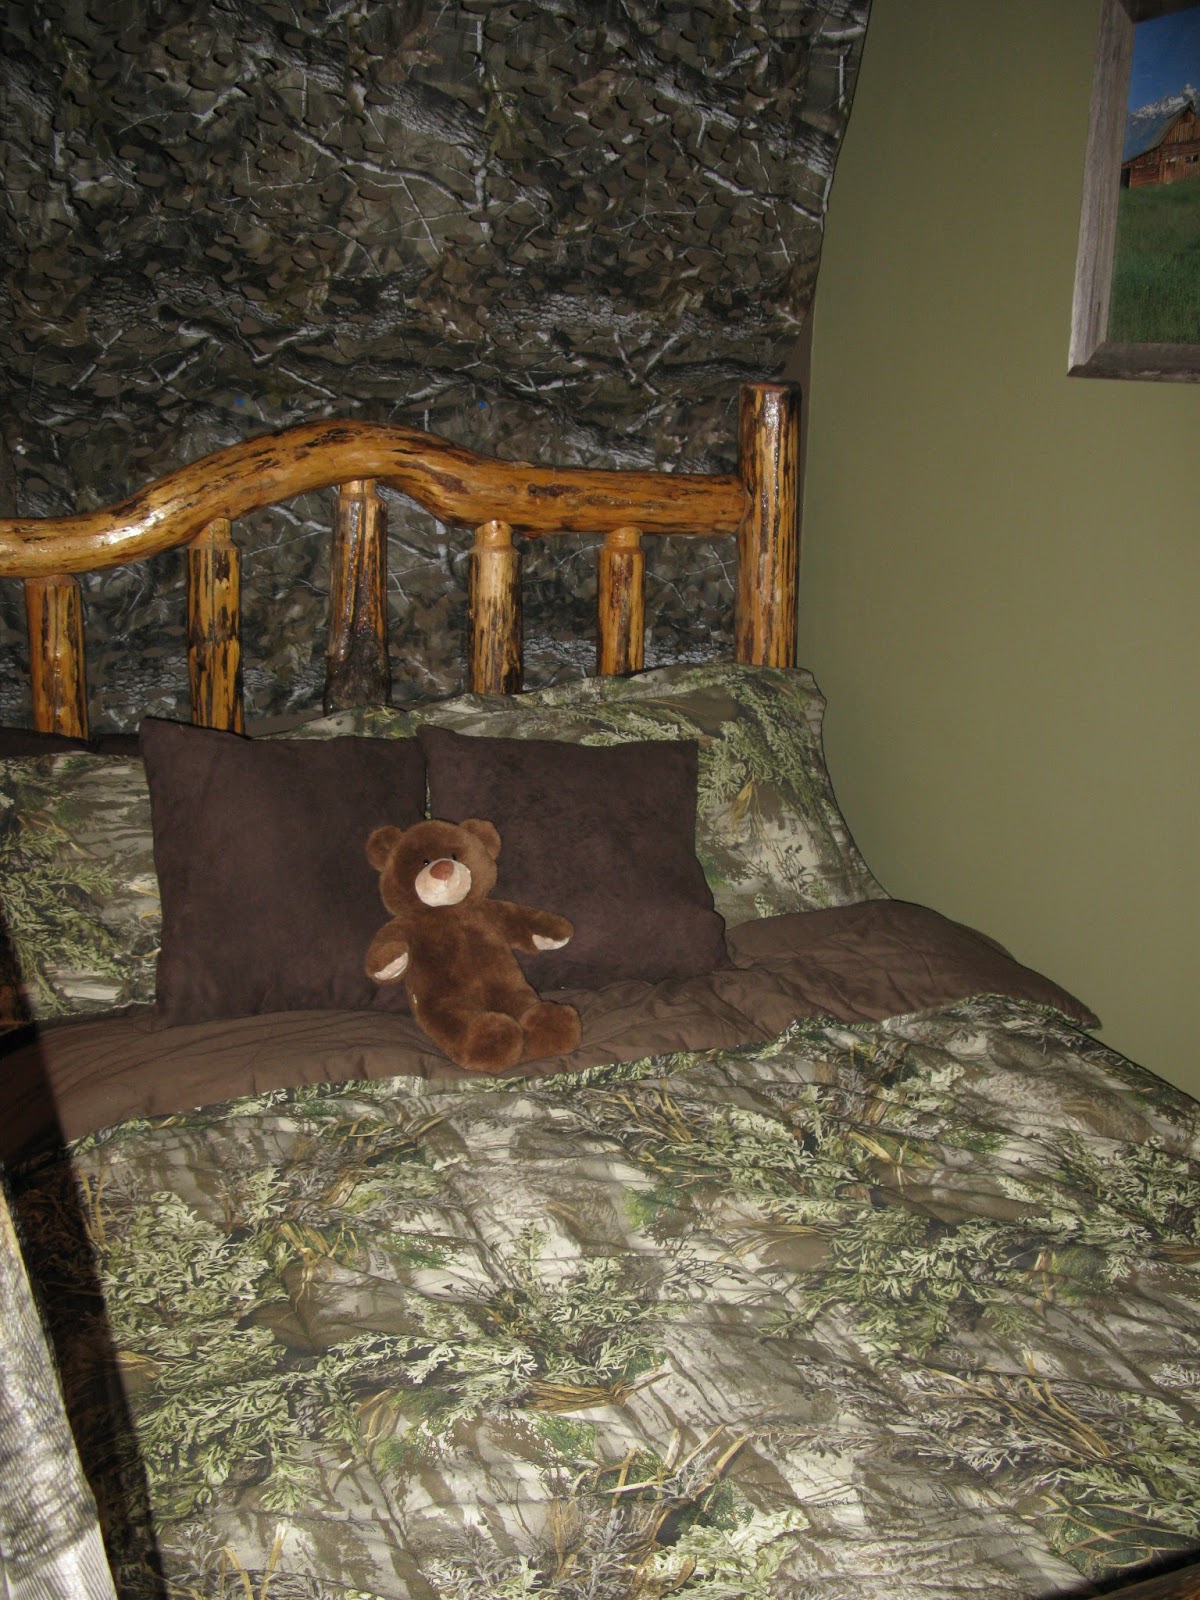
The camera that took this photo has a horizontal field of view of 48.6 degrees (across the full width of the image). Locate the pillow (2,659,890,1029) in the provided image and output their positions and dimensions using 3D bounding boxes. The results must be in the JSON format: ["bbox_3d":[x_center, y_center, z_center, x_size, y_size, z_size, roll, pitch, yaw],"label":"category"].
[{"bbox_3d":[-0.150,0.008,1.713,1.158,0.329,0.391,-3,13,-24],"label":"pillow"}]
